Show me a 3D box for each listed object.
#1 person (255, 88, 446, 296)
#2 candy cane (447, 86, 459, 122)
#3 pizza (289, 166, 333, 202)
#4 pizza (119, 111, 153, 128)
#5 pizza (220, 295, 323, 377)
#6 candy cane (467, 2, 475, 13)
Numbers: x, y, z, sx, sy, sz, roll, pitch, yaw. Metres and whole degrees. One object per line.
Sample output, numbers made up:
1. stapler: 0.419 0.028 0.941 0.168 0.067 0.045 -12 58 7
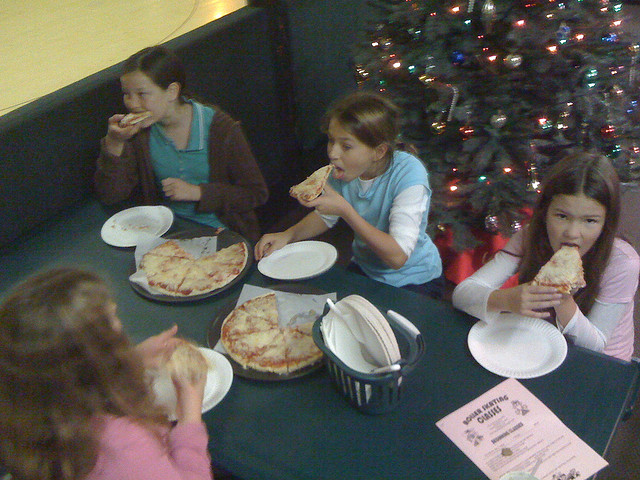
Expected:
1. person: 0.182 -0.175 2.697 1.038 1.075 0.767 7 31 26
2. candy cane: 0.732 -0.770 2.880 0.027 0.155 0.039 19 23 17
3. pizza: -0.014 -0.253 2.434 0.245 0.041 0.145 -40 44 -22
4. pizza: -0.992 -0.661 2.736 0.184 0.067 0.077 -16 44 -17
5. pizza: -0.164 0.341 1.984 0.512 0.321 0.021 3 -14 -41
6. candy cane: 0.804 -1.251 2.727 0.033 0.065 0.049 9 45 11
